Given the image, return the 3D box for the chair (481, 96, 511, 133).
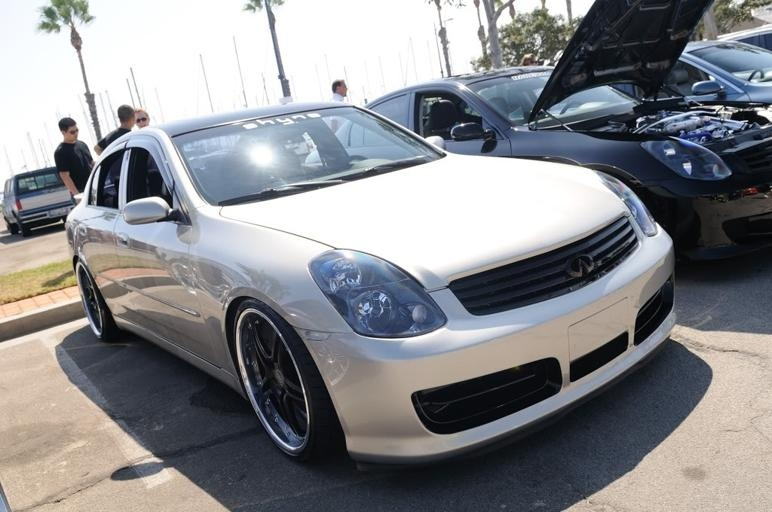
[{"bbox_3d":[1.271,-1.587,5.411,0.346,0.210,0.270,42,46,21],"label":"chair"}]
